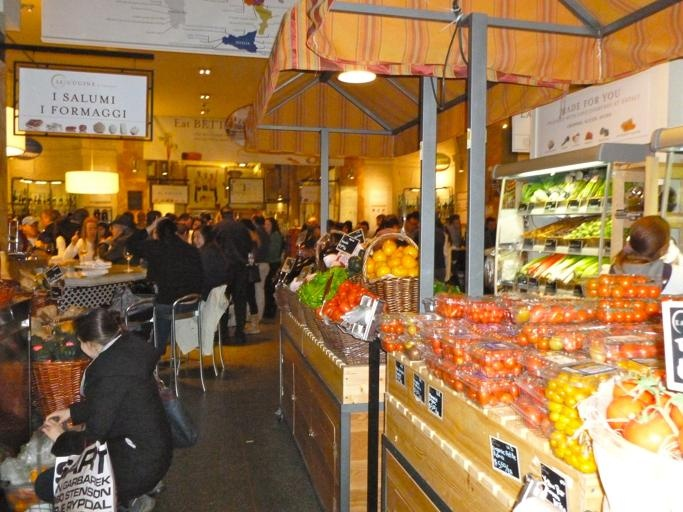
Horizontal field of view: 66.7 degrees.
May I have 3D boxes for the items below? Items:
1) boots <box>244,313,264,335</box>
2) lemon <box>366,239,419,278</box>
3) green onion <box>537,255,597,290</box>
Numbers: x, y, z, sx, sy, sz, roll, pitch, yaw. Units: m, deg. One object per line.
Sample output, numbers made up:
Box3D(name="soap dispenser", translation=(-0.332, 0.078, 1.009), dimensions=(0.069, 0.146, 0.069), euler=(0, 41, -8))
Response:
Box3D(name="boots", translation=(-1.388, 1.073, 8.191), dimensions=(0.192, 0.375, 0.382), euler=(-1, -5, 33))
Box3D(name="lemon", translation=(0.311, 0.021, 3.120), dimensions=(0.222, 0.108, 0.247), euler=(-22, 18, 3))
Box3D(name="green onion", translation=(1.794, 0.107, 4.080), dimensions=(0.406, 0.128, 0.400), euler=(-35, 12, -24))
